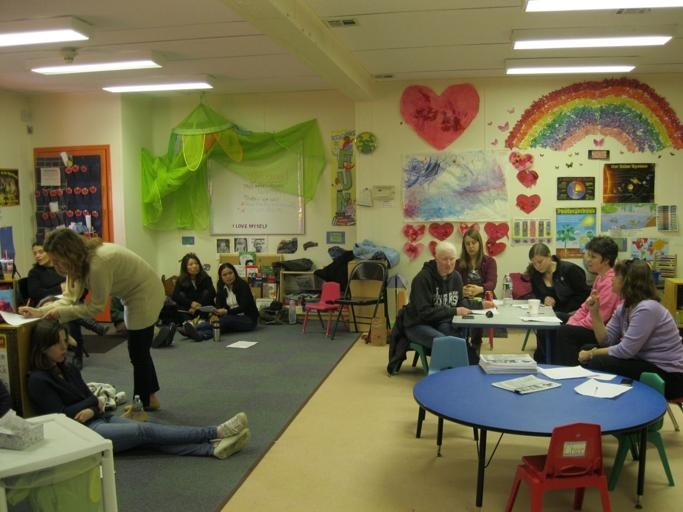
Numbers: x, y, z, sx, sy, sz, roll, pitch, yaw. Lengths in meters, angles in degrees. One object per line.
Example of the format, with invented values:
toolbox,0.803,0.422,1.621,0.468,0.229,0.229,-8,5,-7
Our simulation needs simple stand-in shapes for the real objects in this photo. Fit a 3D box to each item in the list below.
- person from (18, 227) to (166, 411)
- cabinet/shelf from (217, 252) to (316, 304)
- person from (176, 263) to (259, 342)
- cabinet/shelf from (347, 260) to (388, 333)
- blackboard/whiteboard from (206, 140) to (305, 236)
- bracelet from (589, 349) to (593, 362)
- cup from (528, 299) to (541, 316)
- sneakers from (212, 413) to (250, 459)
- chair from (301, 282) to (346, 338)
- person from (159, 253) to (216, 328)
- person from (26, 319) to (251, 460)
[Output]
person,-2.093,0.603,4.745,1.177,1.567,0.543,-4,3,-41
cabinet/shelf,-1.104,0.366,8.590,0.767,0.728,0.250,1,6,13
person,-1.721,0.614,7.863,0.558,1.006,1.188,-2,0,33
cabinet/shelf,0.367,0.541,7.600,0.554,0.949,0.632,-1,3,1
blackboard/whiteboard,-1.315,-1.135,8.893,1.464,1.285,0.159,0,8,3
bracelet,2.060,0.802,4.537,0.018,0.054,0.053,9,34,14
cup,1.872,0.502,5.371,0.137,0.150,0.141,0,-1,0
sneakers,-0.863,1.415,4.323,0.304,0.113,0.126,-41,41,-8
chair,-0.182,0.732,7.993,0.617,0.982,0.690,2,0,27
person,-2.215,0.479,8.149,0.777,0.989,0.741,7,14,41
person,-1.565,1.028,4.339,1.630,0.949,0.567,6,4,-11
